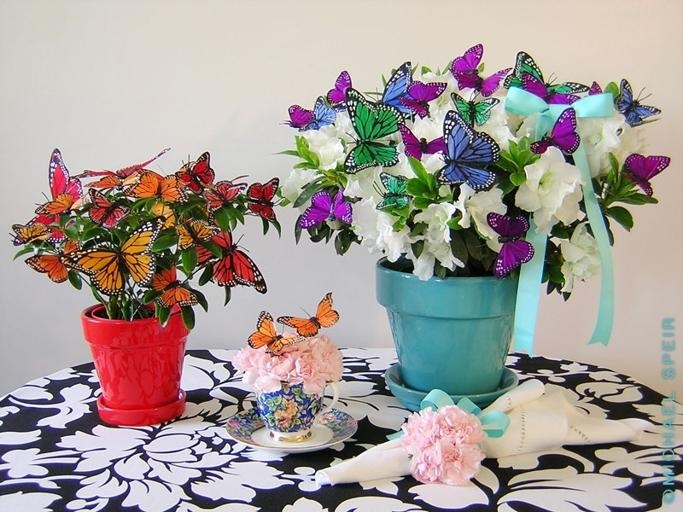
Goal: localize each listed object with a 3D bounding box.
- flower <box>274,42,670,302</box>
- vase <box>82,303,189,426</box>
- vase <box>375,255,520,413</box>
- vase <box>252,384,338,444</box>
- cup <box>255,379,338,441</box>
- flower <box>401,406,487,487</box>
[{"bbox_3d":[0.188,-0.129,1.226,0.449,0.385,0.646,-2,-7,45],"label":"flower"},{"bbox_3d":[-0.354,0.174,1.224,0.195,0.217,0.202,5,11,24],"label":"vase"},{"bbox_3d":[0.207,0.116,1.213,0.259,0.237,0.269,2,5,28],"label":"vase"},{"bbox_3d":[-0.076,0.270,1.112,0.144,0.104,0.121,2,5,20],"label":"vase"},{"bbox_3d":[-0.080,0.270,1.110,0.142,0.104,0.118,1,2,28],"label":"cup"},{"bbox_3d":[0.157,0.286,1.008,0.133,0.050,0.138,-9,16,35],"label":"flower"}]
